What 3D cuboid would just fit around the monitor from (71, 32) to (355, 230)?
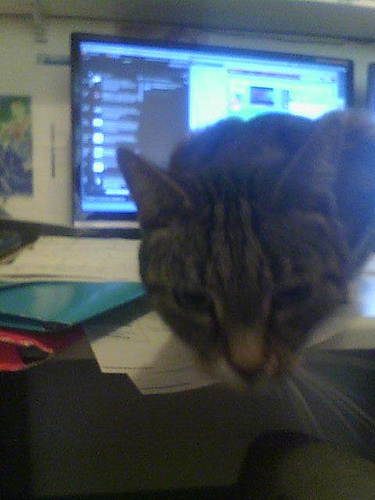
[{"bbox_3d":[0.092,-0.299,1.259,0.767,0.013,0.440,-3,96,-18],"label":"monitor"}]
